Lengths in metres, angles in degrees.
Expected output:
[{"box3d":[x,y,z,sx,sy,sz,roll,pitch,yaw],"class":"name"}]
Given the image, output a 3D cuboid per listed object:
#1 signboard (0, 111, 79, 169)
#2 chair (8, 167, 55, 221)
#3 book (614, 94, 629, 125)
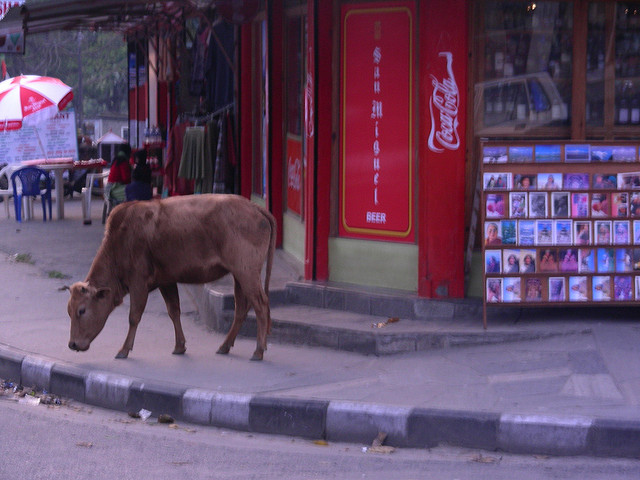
[{"box3d":[-5.489,-2.216,16.041,1.046,1.098,1.080,-10,-1,-31],"class":"signboard"},{"box3d":[-5.907,-0.934,16.695,0.679,1.307,0.923,-2,22,-10],"class":"chair"},{"box3d":[3.408,-1.472,9.209,0.186,0.334,0.039,-2,5,-13],"class":"book"}]
